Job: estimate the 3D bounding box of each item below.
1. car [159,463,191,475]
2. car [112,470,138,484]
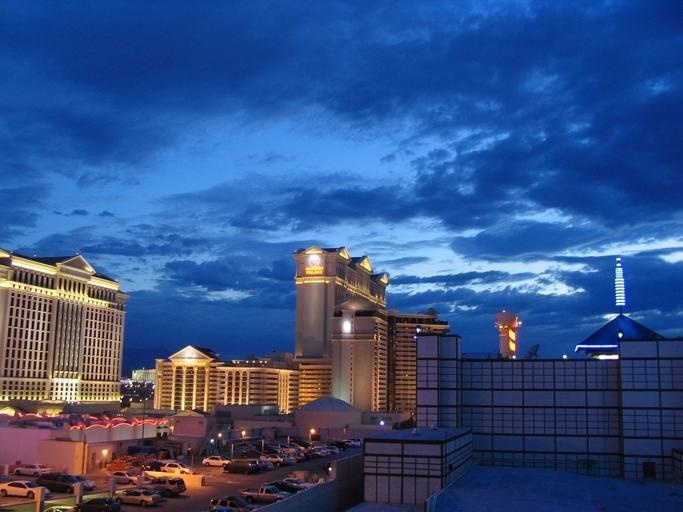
[{"bbox_3d":[-21.248,27.222,94.963,3.087,0.855,1.566,-3,-10,15],"label":"car"},{"bbox_3d":[-26.853,27.333,91.492,3.042,1.468,3.145,0,-13,-14],"label":"car"}]
